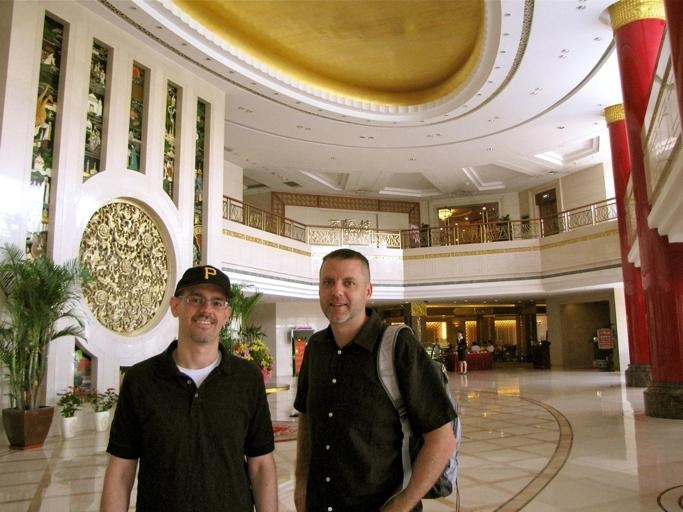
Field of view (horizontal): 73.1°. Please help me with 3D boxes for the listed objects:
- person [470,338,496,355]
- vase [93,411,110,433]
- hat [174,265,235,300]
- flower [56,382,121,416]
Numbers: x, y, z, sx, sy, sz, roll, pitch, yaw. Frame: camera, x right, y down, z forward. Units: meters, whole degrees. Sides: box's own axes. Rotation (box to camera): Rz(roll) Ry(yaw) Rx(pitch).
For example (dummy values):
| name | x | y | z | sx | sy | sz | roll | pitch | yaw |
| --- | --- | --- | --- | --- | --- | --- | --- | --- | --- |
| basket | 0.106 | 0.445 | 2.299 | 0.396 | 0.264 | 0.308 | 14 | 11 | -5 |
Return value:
| name | x | y | z | sx | sy | sz | roll | pitch | yaw |
| --- | --- | --- | --- | --- | --- | --- | --- | --- | --- |
| person | 6.866 | 4.461 | 22.348 | 1.269 | 0.686 | 1.754 | -2 | -12 | 8 |
| vase | -3.858 | 2.688 | 7.419 | 0.293 | 0.319 | 0.286 | 10 | -20 | -41 |
| hat | -0.686 | 0.149 | 2.412 | 0.250 | 0.170 | 0.336 | 5 | -12 | -17 |
| flower | -4.001 | 2.294 | 7.362 | 0.513 | 0.505 | 1.013 | -6 | -16 | 36 |
